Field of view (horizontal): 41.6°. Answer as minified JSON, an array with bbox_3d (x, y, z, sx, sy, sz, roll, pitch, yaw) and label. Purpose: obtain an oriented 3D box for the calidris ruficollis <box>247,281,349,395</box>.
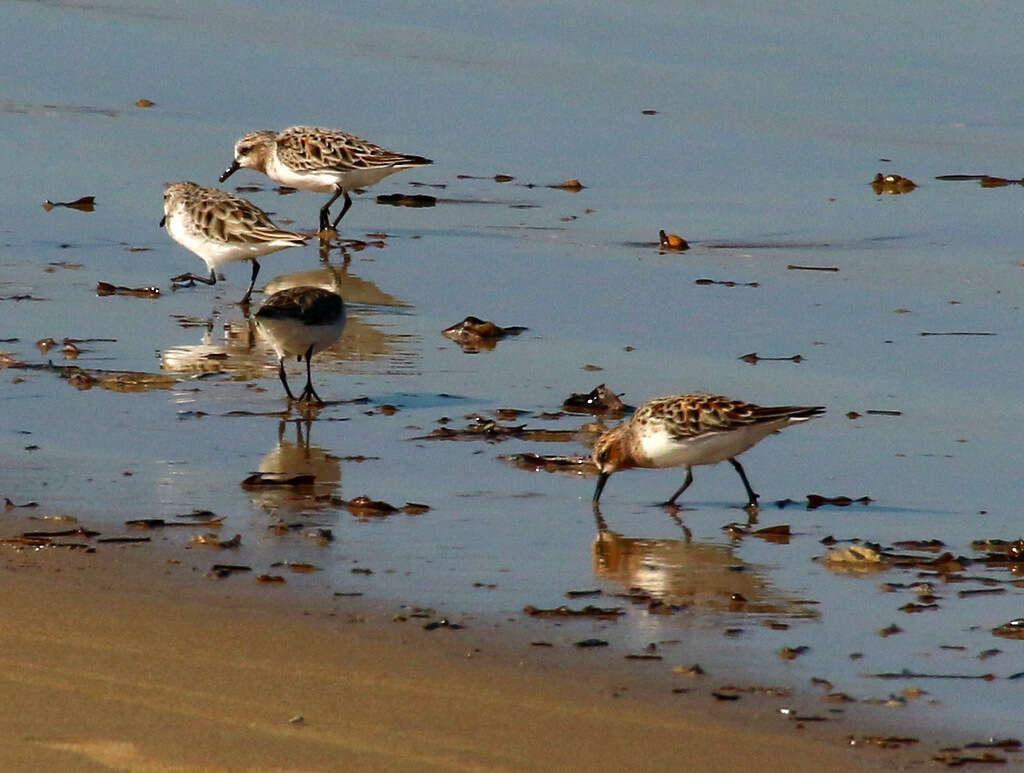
[{"bbox_3d":[-1.802,-0.362,11.430,0.693,0.963,0.913,5,13,-4],"label":"calidris ruficollis"}]
